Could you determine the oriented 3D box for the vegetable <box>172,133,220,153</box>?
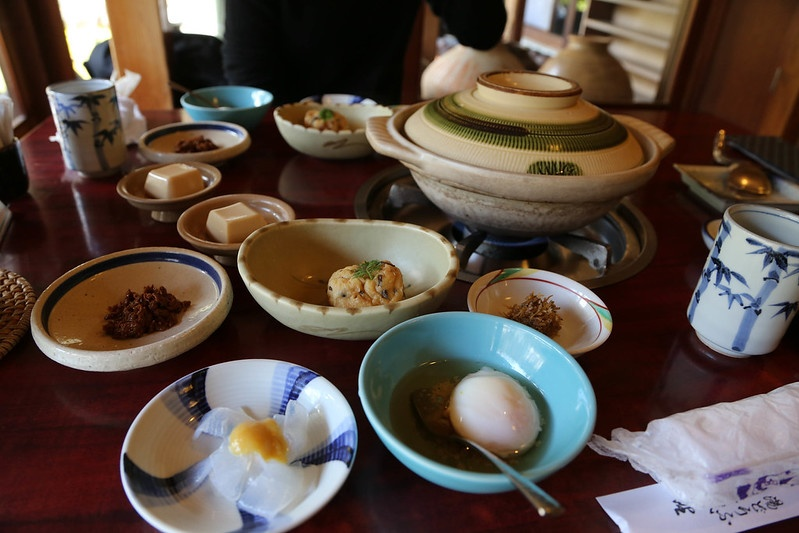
[{"bbox_3d":[-0.628,-0.377,1.728,0.084,0.022,0.084,-12,34,-23],"label":"vegetable"}]

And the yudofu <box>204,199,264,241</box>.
[{"bbox_3d":[-0.416,-0.115,1.395,0.102,0.055,0.102,-22,42,-33],"label":"yudofu"}]

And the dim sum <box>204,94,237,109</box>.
[{"bbox_3d":[-0.645,-0.584,2.021,0.090,0.023,0.085,5,50,-29],"label":"dim sum"}]

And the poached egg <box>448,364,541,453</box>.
[{"bbox_3d":[0.187,0.282,1.082,0.178,0.067,0.132,22,44,19],"label":"poached egg"}]

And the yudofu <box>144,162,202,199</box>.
[{"bbox_3d":[-0.624,-0.247,1.544,0.132,0.061,0.105,-22,42,-39],"label":"yudofu"}]

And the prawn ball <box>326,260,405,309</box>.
[{"bbox_3d":[-0.082,0.044,1.231,0.132,0.054,0.101,-5,41,-1],"label":"prawn ball"}]

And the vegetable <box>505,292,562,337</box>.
[{"bbox_3d":[0.310,0.109,1.315,0.169,0.172,0.079,-4,84,-11],"label":"vegetable"}]

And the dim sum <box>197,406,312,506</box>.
[{"bbox_3d":[-0.242,0.335,1.068,0.160,0.167,0.060,46,55,-9],"label":"dim sum"}]
